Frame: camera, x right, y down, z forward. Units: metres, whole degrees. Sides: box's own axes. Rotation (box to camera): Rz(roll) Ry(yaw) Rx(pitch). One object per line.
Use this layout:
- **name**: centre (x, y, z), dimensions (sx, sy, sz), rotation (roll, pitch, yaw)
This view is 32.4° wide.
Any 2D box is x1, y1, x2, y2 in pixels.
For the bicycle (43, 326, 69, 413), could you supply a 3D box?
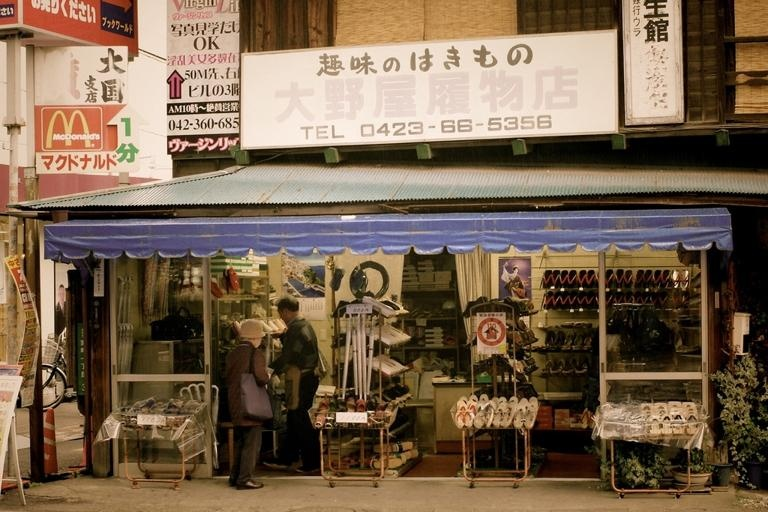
- **bicycle**: centre (-6.489, 2.248, 26.085), dimensions (0.515, 1.553, 2.309), rotation (-1, 0, -14)

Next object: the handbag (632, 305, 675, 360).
- **handbag**: centre (3.926, 1.139, 19.049), dimensions (0.528, 0.682, 0.157), rotation (-1, 0, 14)

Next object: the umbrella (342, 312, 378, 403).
- **umbrella**: centre (-0.381, 1.425, 19.649), dimensions (0.513, 1.361, 0.766), rotation (-1, 0, 2)

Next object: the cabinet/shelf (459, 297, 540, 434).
- **cabinet/shelf**: centre (1.751, 1.683, 19.874), dimensions (1.082, 1.795, 0.957), rotation (-5, -6, 13)

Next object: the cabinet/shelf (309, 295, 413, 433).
- **cabinet/shelf**: centre (-0.279, 1.693, 19.662), dimensions (1.273, 2.082, 1.296), rotation (-4, 26, -8)

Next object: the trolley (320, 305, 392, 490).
- **trolley**: centre (-0.385, 2.047, 19.638), dimensions (1.166, 2.698, 1.096), rotation (4, 3, 9)

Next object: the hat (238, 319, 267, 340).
- **hat**: centre (-1.925, 1.085, 19.426), dimensions (0.297, 0.219, 0.426), rotation (2, 2, 10)

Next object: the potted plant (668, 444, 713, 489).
- **potted plant**: centre (4.367, 3.005, 18.565), dimensions (0.505, 0.572, 0.389), rotation (1, 8, 6)

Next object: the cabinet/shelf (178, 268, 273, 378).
- **cabinet/shelf**: centre (-2.481, 1.067, 20.080), dimensions (0.535, 1.575, 1.644), rotation (0, -4, 16)

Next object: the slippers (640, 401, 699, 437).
- **slippers**: centre (4.043, 2.304, 18.467), dimensions (0.833, 0.414, 0.450), rotation (-1, 0, 6)

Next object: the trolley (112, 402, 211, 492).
- **trolley**: centre (-3.255, 2.832, 19.395), dimensions (1.309, 1.026, 1.289), rotation (0, 1, 4)

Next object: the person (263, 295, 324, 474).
- **person**: centre (-1.371, 2.005, 20.397), dimensions (0.862, 2.552, 0.853), rotation (1, -2, -16)

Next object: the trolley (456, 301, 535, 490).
- **trolley**: centre (1.759, 1.995, 19.673), dimensions (1.388, 2.579, 1.000), rotation (2, 8, 16)
